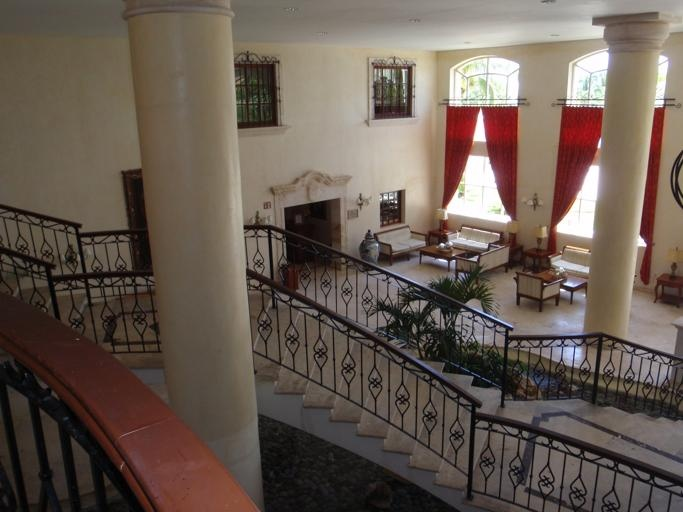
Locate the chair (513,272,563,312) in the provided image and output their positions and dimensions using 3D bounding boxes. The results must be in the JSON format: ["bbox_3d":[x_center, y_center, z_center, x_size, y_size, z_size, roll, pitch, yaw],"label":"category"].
[{"bbox_3d":[4.893,0.721,12.822,1.074,0.833,0.847,-14,20,-39],"label":"chair"}]

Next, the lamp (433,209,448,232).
[{"bbox_3d":[3.290,-1.201,17.083,0.517,0.872,0.526,11,21,44],"label":"lamp"}]

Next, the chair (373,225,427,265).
[{"bbox_3d":[1.851,-0.414,16.238,1.624,0.878,0.763,-15,18,-38],"label":"chair"}]

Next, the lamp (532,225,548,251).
[{"bbox_3d":[5.790,-0.526,14.940,0.330,0.746,0.819,5,17,21],"label":"lamp"}]

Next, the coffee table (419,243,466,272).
[{"bbox_3d":[3.037,-0.142,15.505,0.779,0.543,1.108,-16,24,-37],"label":"coffee table"}]
